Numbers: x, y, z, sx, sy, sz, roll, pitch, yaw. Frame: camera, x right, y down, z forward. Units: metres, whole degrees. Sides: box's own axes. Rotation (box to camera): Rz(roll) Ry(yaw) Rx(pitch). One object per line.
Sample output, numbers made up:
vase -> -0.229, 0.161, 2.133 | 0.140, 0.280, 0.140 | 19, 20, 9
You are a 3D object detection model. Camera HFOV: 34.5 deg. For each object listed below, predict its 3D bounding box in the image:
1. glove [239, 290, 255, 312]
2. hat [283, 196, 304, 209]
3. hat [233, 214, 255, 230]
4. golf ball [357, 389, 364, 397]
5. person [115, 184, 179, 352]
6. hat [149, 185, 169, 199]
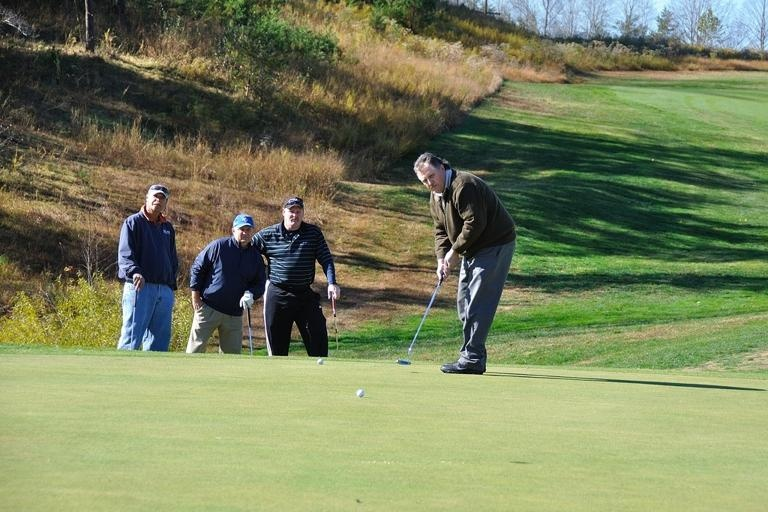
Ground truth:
glove -> -3.210, 1.003, 28.712 | 0.146, 0.423, 0.325 | 24, -3, 36
hat -> -2.111, -1.233, 28.764 | 0.431, 0.274, 0.263 | 3, 0, -9
hat -> -3.321, -0.812, 28.982 | 0.401, 0.264, 0.526 | 1, -4, -13
golf ball -> -0.498, 2.775, 25.507 | 0.150, 0.129, 0.121 | -6, -7, 40
person -> -5.439, 0.245, 28.431 | 1.327, 3.804, 0.507 | 3, 0, -19
hat -> -5.247, -1.512, 28.654 | 0.438, 0.221, 0.641 | 16, 0, -17
